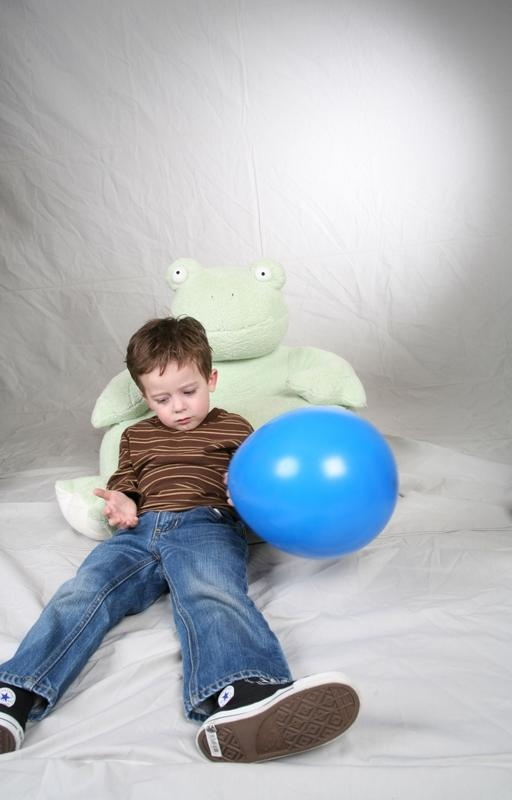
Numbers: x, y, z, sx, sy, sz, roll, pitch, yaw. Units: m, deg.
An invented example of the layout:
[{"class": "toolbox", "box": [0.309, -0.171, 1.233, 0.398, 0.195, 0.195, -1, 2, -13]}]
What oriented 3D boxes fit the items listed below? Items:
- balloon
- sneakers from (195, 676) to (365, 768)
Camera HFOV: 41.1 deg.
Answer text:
[{"class": "balloon", "box": [0.071, 0.140, 1.228, 0.303, 0.219, 0.226, 3, 5, -6]}, {"class": "sneakers", "box": [0.033, 0.398, 0.925, 0.237, 0.094, 0.139, -6, 7, -3]}]
